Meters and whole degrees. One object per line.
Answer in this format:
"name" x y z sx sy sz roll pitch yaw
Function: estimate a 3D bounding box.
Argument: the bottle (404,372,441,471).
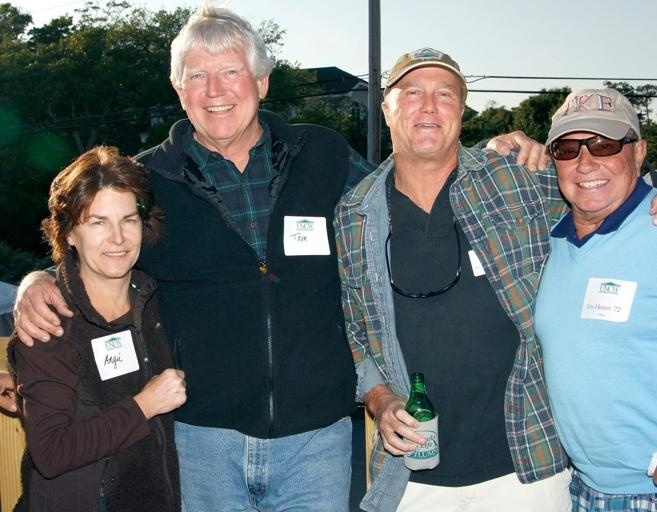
"bottle" 0.373 0.660 2.519 0.134 0.391 0.143 -2 9 0
